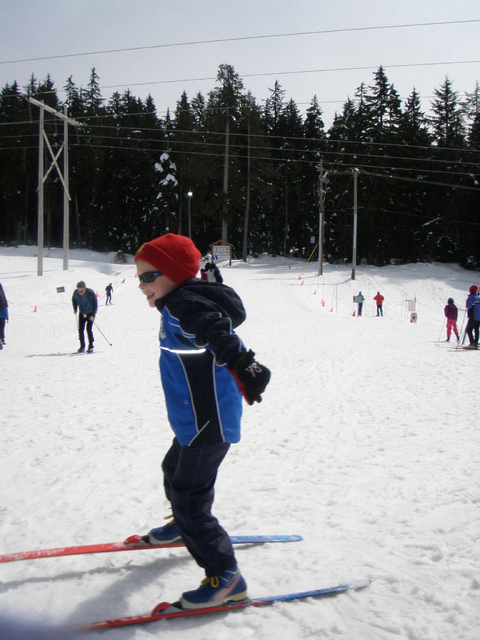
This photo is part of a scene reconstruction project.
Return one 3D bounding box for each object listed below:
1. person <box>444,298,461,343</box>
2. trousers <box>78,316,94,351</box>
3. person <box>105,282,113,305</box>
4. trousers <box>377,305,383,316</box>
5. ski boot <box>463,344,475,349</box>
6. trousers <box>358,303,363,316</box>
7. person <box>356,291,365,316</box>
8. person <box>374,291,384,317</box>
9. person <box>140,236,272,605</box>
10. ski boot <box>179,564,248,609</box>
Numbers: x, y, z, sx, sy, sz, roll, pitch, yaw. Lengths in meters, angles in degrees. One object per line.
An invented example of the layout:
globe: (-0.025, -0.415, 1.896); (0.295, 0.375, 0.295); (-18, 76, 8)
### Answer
person: (5.965, 0.035, 16.832); (0.397, 1.213, 2.880); (4, 4, 20)
trousers: (-3.127, 0.274, 12.208); (0.267, 0.700, 0.952); (2, 4, -13)
person: (-4.981, -0.932, 22.793); (0.257, 0.724, 1.022); (2, 4, -12)
trousers: (5.915, -0.398, 25.428); (0.199, 0.412, 0.650); (3, 4, 10)
ski boot: (5.466, 0.668, 14.304); (0.296, 0.120, 0.100); (3, -2, 1)
trousers: (4.903, -0.412, 24.505); (0.146, 0.486, 0.630); (3, 4, 6)
person: (4.892, -0.630, 24.506); (0.240, 0.919, 1.688); (4, 4, 13)
person: (5.867, -0.635, 25.351); (0.326, 0.973, 0.878); (4, 4, 13)
person: (-0.251, 0.540, 3.338); (0.668, 2.017, 1.054); (2, 3, -10)
ski boot: (-0.126, 1.471, 3.360); (0.434, 0.298, 0.146); (0, -6, -12)
